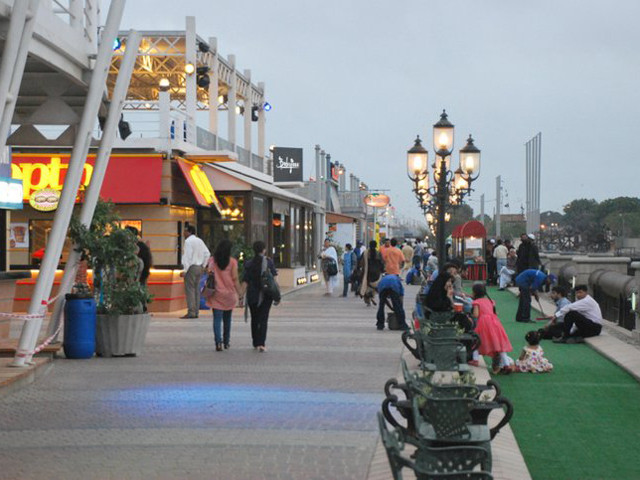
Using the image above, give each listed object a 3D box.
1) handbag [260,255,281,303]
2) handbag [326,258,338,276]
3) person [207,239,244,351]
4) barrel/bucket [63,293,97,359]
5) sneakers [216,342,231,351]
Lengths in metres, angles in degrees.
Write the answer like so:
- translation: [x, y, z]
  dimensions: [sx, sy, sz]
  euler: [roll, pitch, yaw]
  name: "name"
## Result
- translation: [-1.044, 0.821, 14.458]
  dimensions: [0.369, 0.985, 0.464]
  euler: [0, 1, -8]
  name: "handbag"
- translation: [0.410, 1.072, 28.470]
  dimensions: [0.570, 0.951, 0.363]
  euler: [-2, -3, -2]
  name: "handbag"
- translation: [-2.053, 1.125, 14.840]
  dimensions: [0.661, 2.282, 1.072]
  euler: [0, 1, -9]
  name: "person"
- translation: [-4.604, 1.642, 13.521]
  dimensions: [0.878, 1.219, 0.926]
  euler: [2, -2, 0]
  name: "barrel/bucket"
- translation: [-2.041, 2.212, 14.622]
  dimensions: [0.106, 0.163, 0.346]
  euler: [-1, -8, 6]
  name: "sneakers"
